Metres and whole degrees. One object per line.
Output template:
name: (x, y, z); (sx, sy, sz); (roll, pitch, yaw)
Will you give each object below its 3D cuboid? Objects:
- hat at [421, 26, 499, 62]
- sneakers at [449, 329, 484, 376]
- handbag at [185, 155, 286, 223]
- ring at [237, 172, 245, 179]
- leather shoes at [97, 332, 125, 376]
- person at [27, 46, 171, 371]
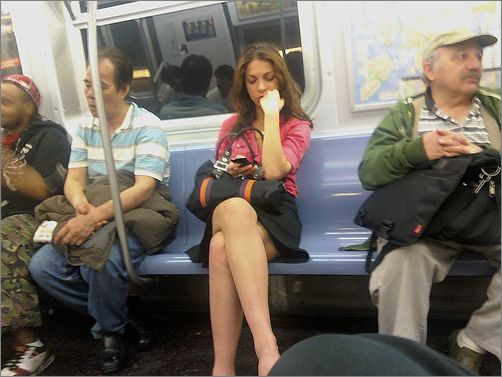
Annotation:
hat: (0.993, -0.678, 1.760); (0.141, 0.058, 0.224); (-9, -4, -37)
sneakers: (0.910, 0.701, 1.567); (0.121, 0.192, 0.162); (-1, 9, 27)
handbag: (-0.092, -0.001, 1.837); (0.399, 0.175, 0.304); (3, 21, 13)
ring: (-0.054, -0.068, 1.867); (0.028, 0.025, 0.007); (12, 19, 10)
leather shoes: (-0.698, 0.825, 1.856); (0.086, 0.096, 0.233); (0, -7, -13)
person: (-0.814, 0.062, 2.089); (0.533, 1.643, 0.773); (-1, 10, 29)
